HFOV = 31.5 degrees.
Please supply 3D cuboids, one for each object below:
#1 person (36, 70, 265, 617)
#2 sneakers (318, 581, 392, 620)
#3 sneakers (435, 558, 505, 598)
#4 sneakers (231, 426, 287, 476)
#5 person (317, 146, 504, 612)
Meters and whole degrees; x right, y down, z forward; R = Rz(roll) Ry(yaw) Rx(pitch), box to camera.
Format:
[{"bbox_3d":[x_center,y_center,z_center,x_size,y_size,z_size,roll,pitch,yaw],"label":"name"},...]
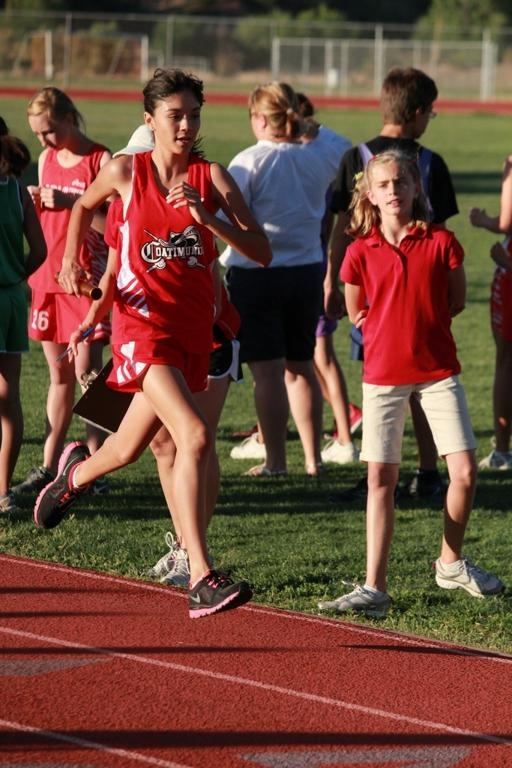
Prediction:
[{"bbox_3d":[-0.277,-0.137,2.992,0.473,1.751,1.182,0,7,-28],"label":"person"},{"bbox_3d":[0.355,0.765,3.211,0.289,0.124,0.099,3,0,0],"label":"sneakers"},{"bbox_3d":[0.794,0.721,3.470,0.287,0.122,0.116,11,22,15],"label":"sneakers"},{"bbox_3d":[0.054,0.374,5.293,0.315,0.253,0.448,4,12,-18],"label":"sneakers"},{"bbox_3d":[0.492,-0.062,3.237,0.765,1.493,0.749,15,23,12],"label":"person"}]
